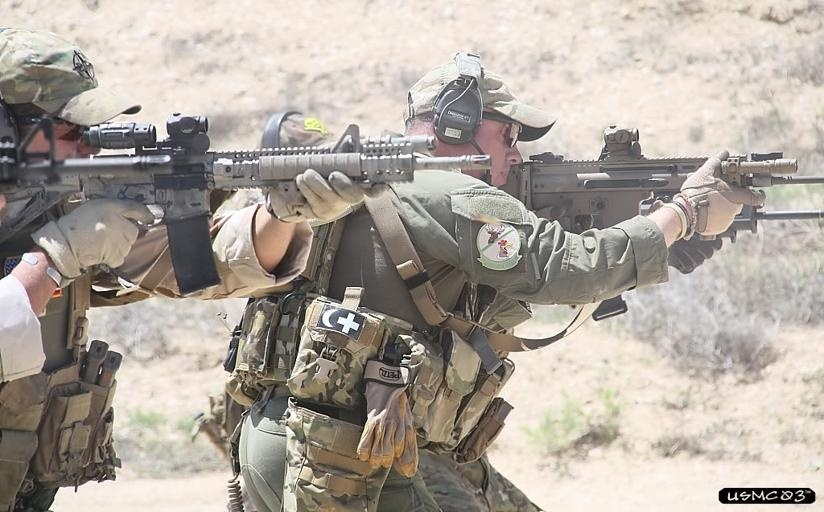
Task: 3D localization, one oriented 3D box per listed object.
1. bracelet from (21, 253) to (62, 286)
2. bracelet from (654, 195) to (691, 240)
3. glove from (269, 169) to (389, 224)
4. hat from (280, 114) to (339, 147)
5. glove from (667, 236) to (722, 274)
[{"bbox_3d":[-3.603,0.117,13.820,0.281,0.360,0.148,-14,-2,11],"label":"bracelet"},{"bbox_3d":[2.736,-0.402,14.430,0.226,0.427,0.359,-1,11,-16],"label":"bracelet"},{"bbox_3d":[-0.907,-0.577,13.784,0.921,0.361,0.548,2,38,7],"label":"glove"},{"bbox_3d":[-1.036,-1.297,14.491,0.470,0.268,0.354,13,7,22],"label":"hat"},{"bbox_3d":[3.371,-0.073,16.659,0.510,0.228,0.508,-26,14,14],"label":"glove"}]
